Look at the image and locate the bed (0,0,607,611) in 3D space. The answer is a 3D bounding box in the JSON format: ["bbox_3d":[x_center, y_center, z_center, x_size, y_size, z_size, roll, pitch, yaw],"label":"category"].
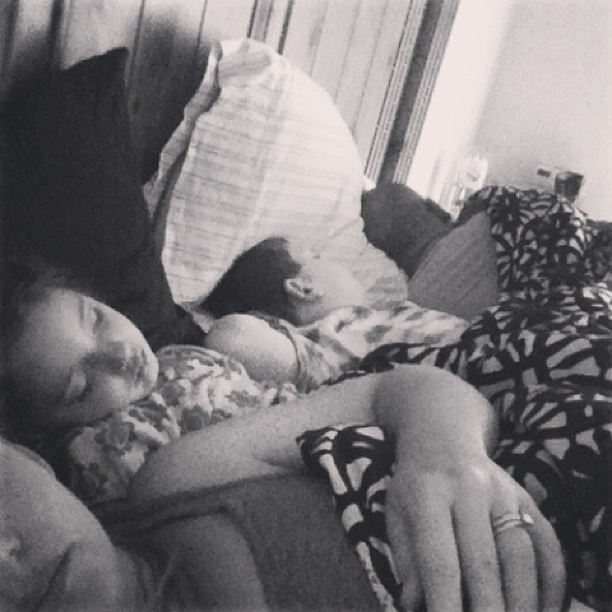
[{"bbox_3d":[0.091,0.142,3.458,1.219,0.419,1.320,-15,59,-11],"label":"bed"}]

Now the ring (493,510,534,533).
[{"bbox_3d":[0.516,0.538,3.775,0.075,0.037,0.053,-5,42,9],"label":"ring"}]
